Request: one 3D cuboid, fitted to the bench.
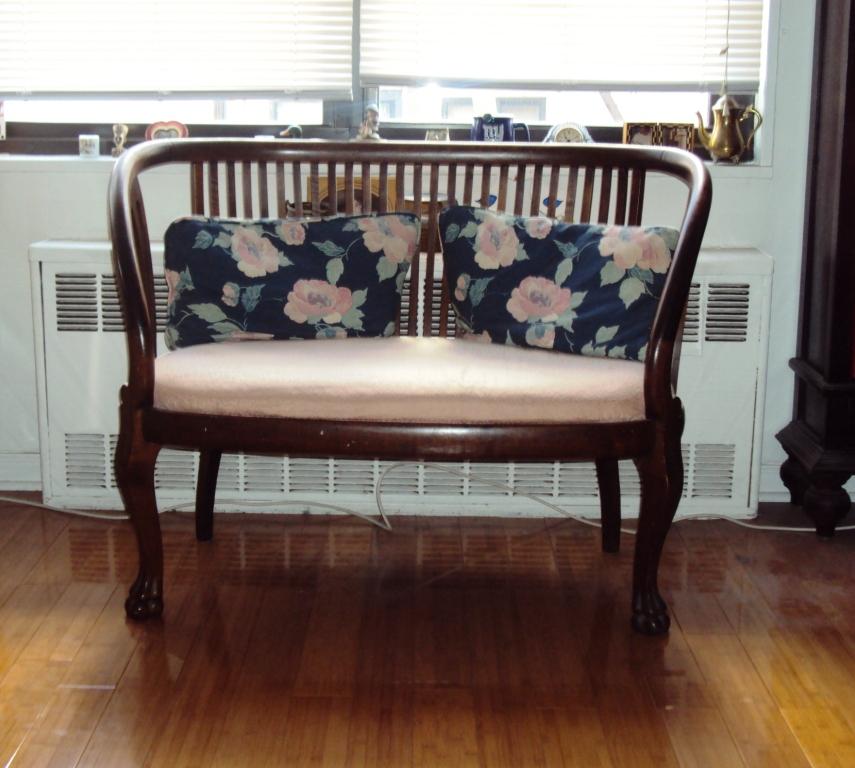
[{"bbox_3d":[-0.050,-0.007,1.697,1.076,1.041,0.651,0,6,-1],"label":"bench"}]

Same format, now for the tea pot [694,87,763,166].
[{"bbox_3d":[0.800,-0.683,2.267,0.161,0.185,0.272,4,13,17],"label":"tea pot"}]
